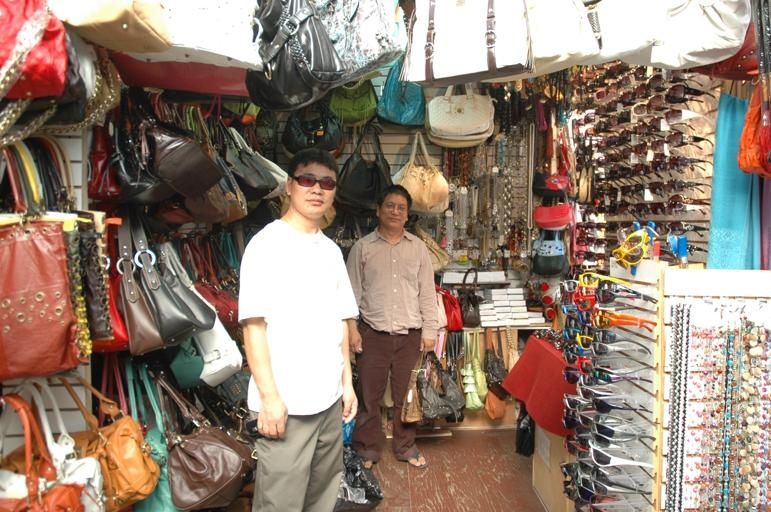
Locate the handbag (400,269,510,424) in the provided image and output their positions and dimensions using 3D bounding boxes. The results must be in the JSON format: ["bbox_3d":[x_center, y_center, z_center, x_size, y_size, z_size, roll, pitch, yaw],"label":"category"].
[{"bbox_3d":[0.626,0.882,5.680,1.277,1.867,0.297,2,1,-16],"label":"handbag"}]

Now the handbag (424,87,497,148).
[{"bbox_3d":[0.668,-1.234,5.604,0.624,0.698,0.342,-2,1,2],"label":"handbag"}]

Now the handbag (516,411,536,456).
[{"bbox_3d":[1.089,1.391,4.863,0.135,0.386,0.332,0,2,12],"label":"handbag"}]

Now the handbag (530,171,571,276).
[{"bbox_3d":[1.525,-0.272,5.767,0.346,0.982,0.489,0,2,13],"label":"handbag"}]
